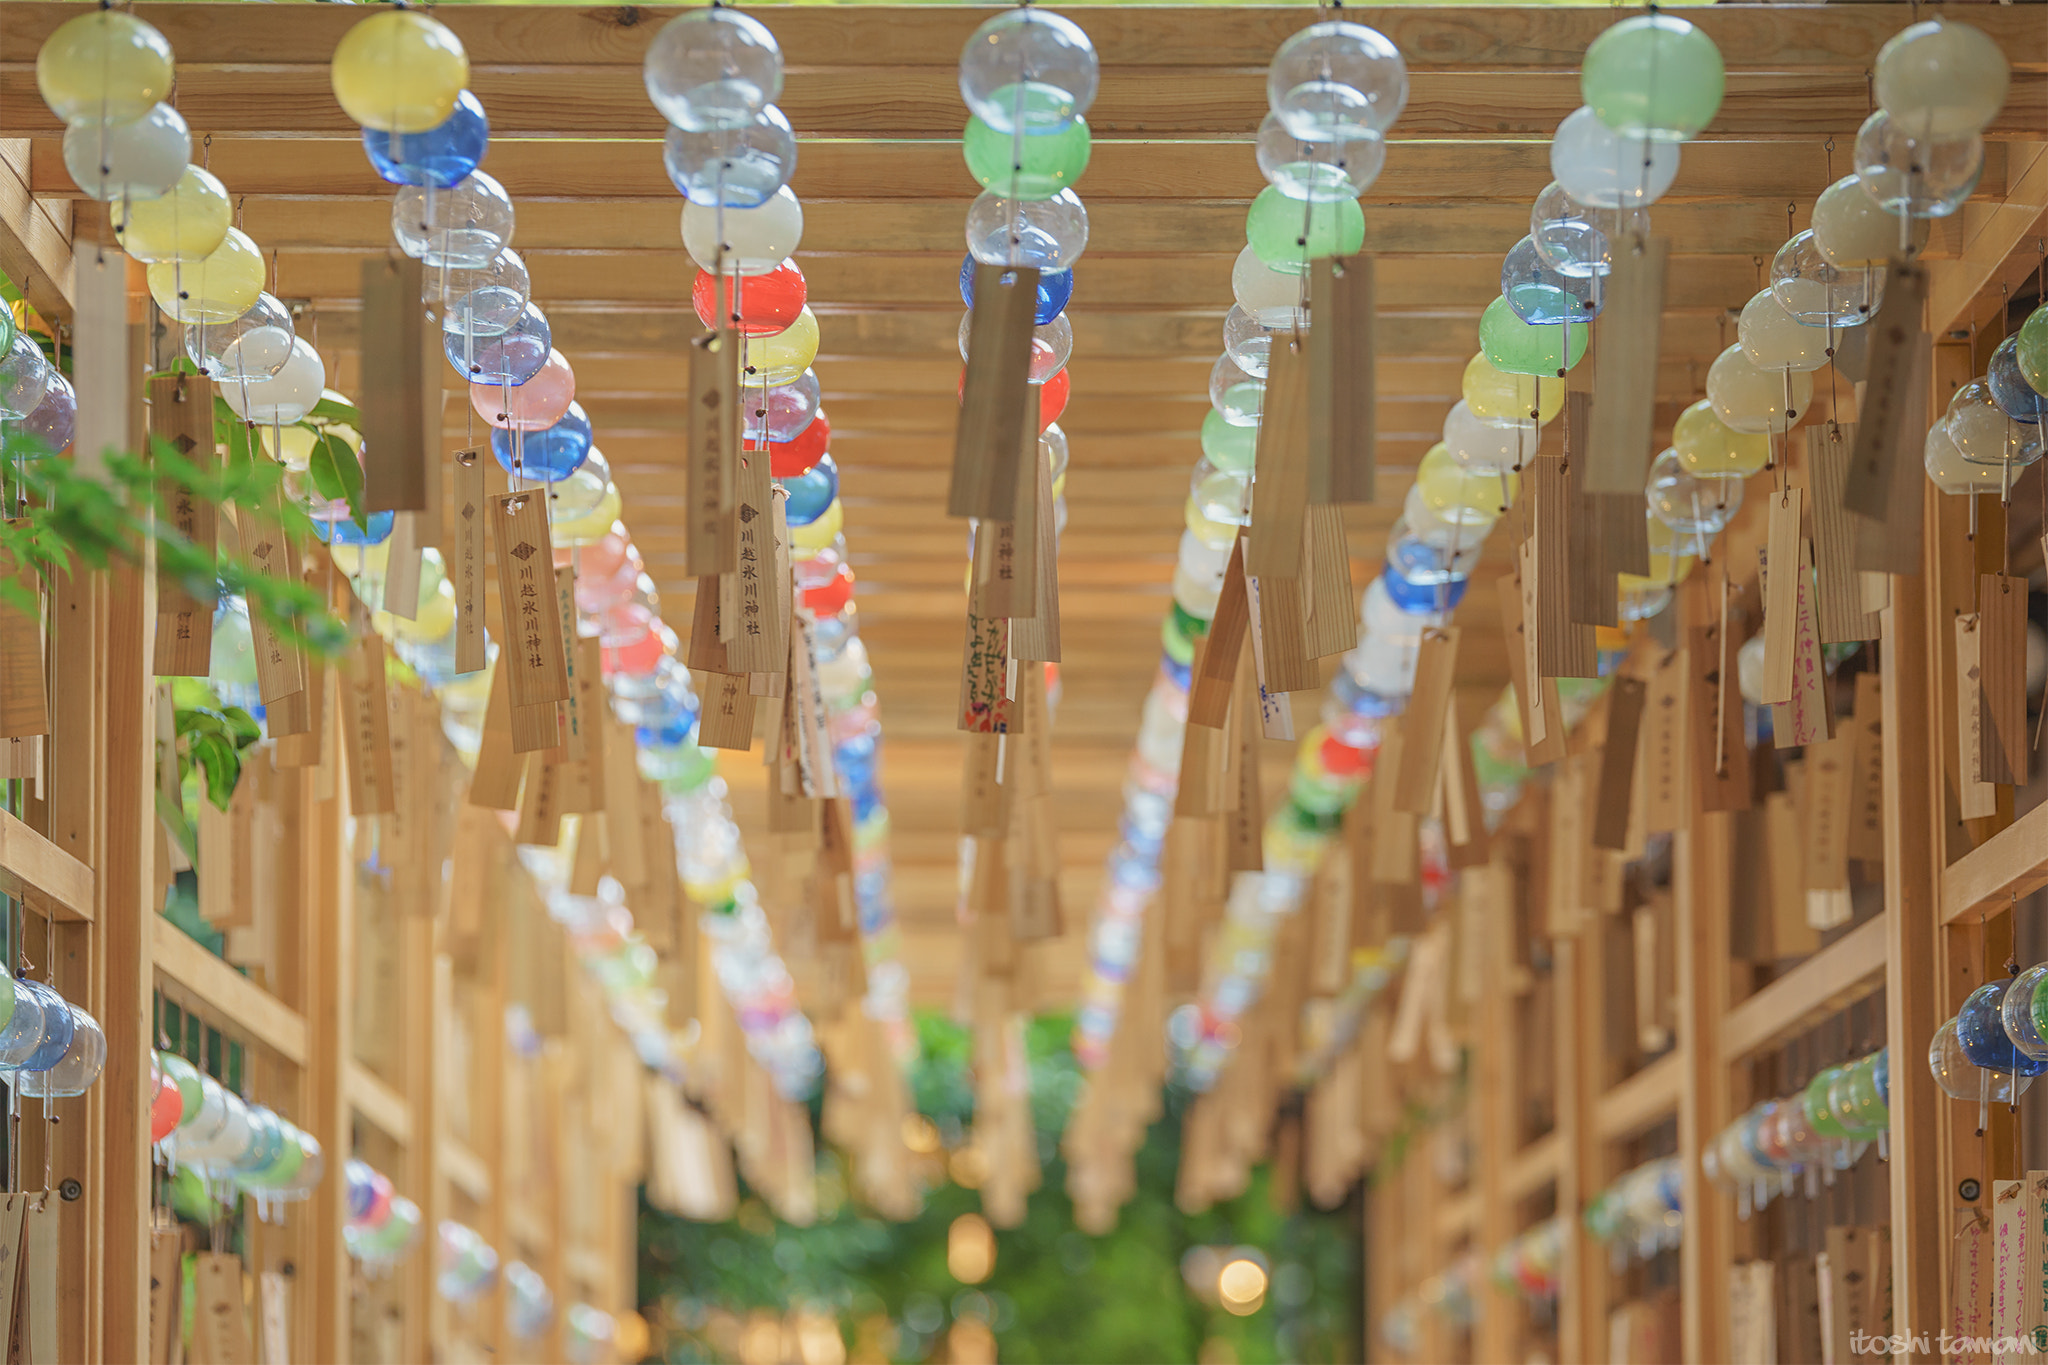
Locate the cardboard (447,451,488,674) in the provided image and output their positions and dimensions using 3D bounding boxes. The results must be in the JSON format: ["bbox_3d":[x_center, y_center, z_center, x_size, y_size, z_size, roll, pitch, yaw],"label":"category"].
[{"bbox_3d":[-1.493,-0.376,14.409,0.115,0.524,0.016,-7,-13,27],"label":"cardboard"}]

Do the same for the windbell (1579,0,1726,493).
[{"bbox_3d":[1.604,-1.083,13.465,0.356,1.066,0.710,-1,-26,3],"label":"windbell"}]

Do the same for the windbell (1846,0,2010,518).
[{"bbox_3d":[2.287,-1.033,13.438,0.405,1.179,0.728,-1,-26,1],"label":"windbell"}]

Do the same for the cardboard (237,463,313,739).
[{"bbox_3d":[-2.046,-0.271,14.328,0.124,0.545,0.016,-7,3,-24],"label":"cardboard"}]

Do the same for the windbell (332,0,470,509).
[{"bbox_3d":[-1.617,-1.070,13.552,0.332,1.195,0.616,4,-26,-7],"label":"windbell"}]

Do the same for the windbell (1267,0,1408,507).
[{"bbox_3d":[0.815,-1.128,13.769,0.369,1.327,0.575,-1,-26,1],"label":"windbell"}]

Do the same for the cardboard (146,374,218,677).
[{"bbox_3d":[-2.249,-0.408,14.193,0.201,0.752,0.471,4,-26,-8],"label":"cardboard"}]
